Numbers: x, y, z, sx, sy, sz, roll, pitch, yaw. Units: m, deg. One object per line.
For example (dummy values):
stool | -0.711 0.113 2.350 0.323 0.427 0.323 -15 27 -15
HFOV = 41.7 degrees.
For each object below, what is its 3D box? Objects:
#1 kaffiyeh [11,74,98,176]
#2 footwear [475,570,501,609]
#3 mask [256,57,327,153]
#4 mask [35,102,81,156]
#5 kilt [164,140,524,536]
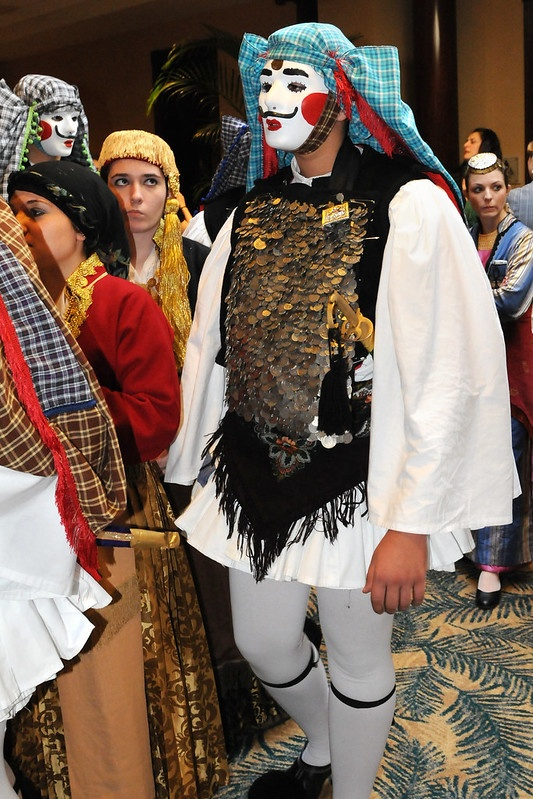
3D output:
kaffiyeh | -0.548 -0.715 1.838 0.245 0.239 0.156 -6 29 -27
footwear | 0.743 0.637 2.347 0.056 0.062 0.156 -4 13 17
mask | 0.043 -0.499 1.204 0.128 0.140 0.106 6 23 25
mask | -0.529 -0.699 1.798 0.096 0.143 0.134 25 29 24
kilt | 0.079 -0.092 1.152 0.577 0.639 0.267 5 13 43
